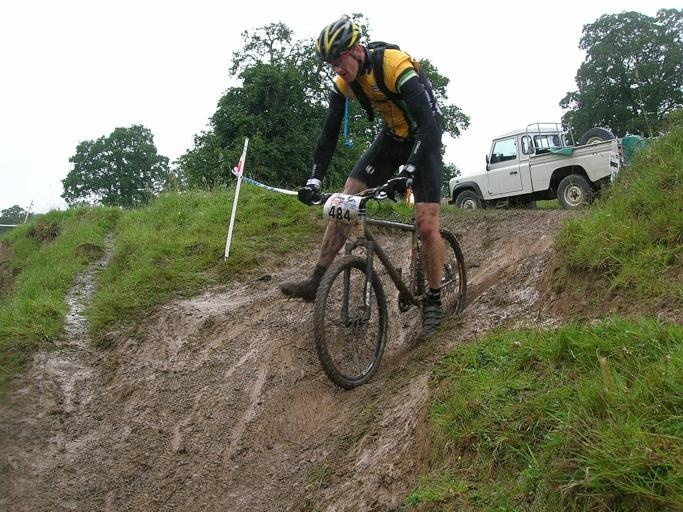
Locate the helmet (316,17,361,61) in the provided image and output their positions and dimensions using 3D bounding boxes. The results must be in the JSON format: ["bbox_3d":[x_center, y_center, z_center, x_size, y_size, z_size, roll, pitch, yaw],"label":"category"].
[{"bbox_3d":[-0.033,-2.046,5.029,0.424,0.416,0.287,-4,1,-2],"label":"helmet"}]

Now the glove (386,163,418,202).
[{"bbox_3d":[0.597,-0.713,5.191,0.261,0.322,0.534,-4,1,19],"label":"glove"}]

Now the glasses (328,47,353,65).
[{"bbox_3d":[-0.017,-1.908,5.030,0.125,0.063,0.175,-12,33,50],"label":"glasses"}]

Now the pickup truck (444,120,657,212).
[{"bbox_3d":[4.806,-2.172,12.958,1.111,1.818,4.444,-4,1,-32],"label":"pickup truck"}]

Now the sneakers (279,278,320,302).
[{"bbox_3d":[-0.427,0.342,5.345,0.222,0.136,0.283,4,-9,-43],"label":"sneakers"}]
